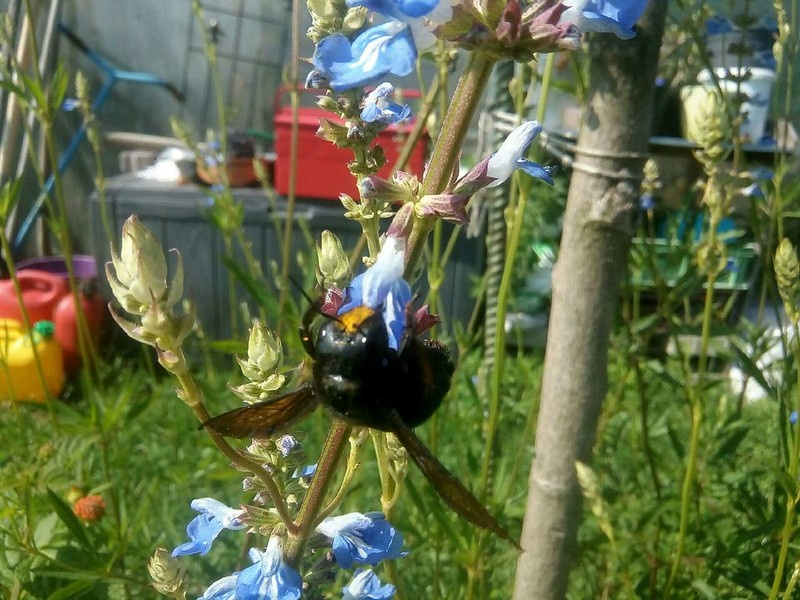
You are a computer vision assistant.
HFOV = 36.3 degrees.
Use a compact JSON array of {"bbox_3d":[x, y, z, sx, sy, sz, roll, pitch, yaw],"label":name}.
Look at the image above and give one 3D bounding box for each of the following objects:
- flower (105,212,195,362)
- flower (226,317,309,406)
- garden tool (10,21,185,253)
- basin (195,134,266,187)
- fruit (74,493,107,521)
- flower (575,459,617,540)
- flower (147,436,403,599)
[{"bbox_3d":[-0.672,-0.034,3.367,0.235,0.415,0.219,-1,17,-12],"label":"flower"},{"bbox_3d":[-0.386,0.165,3.557,0.166,0.255,0.191,-4,19,17],"label":"flower"},{"bbox_3d":[-1.573,-0.843,6.324,0.696,1.368,0.253,25,-17,-10],"label":"garden tool"},{"bbox_3d":[-0.790,-0.674,6.119,0.365,0.230,0.389,0,9,0],"label":"basin"},{"bbox_3d":[-1.020,0.690,4.109,0.076,0.101,0.044,15,-13,0],"label":"fruit"},{"bbox_3d":[0.633,0.631,3.932,0.056,0.341,0.080,-19,-2,-19],"label":"flower"},{"bbox_3d":[-0.374,0.811,3.599,0.542,0.552,0.308,36,35,-23],"label":"flower"}]
